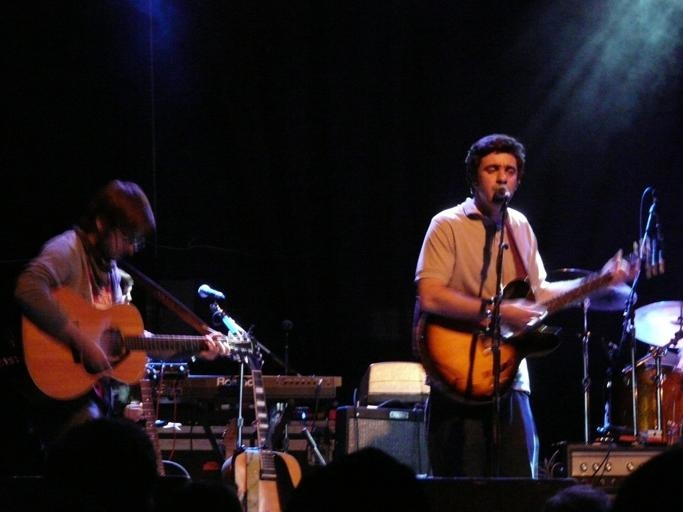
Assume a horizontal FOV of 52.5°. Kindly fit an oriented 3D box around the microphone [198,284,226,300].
[{"bbox_3d":[-1.313,0.360,6.962,0.233,0.120,0.108,15,15,35],"label":"microphone"}]

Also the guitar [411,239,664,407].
[{"bbox_3d":[1.246,0.323,4.614,1.649,0.799,0.249,-32,-2,-6],"label":"guitar"}]

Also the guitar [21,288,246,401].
[{"bbox_3d":[-1.344,0.607,4.716,1.386,0.660,0.147,4,-28,-38],"label":"guitar"}]
